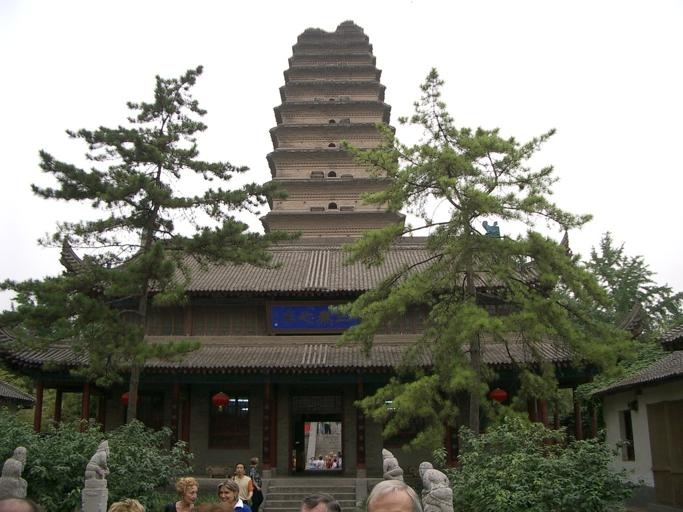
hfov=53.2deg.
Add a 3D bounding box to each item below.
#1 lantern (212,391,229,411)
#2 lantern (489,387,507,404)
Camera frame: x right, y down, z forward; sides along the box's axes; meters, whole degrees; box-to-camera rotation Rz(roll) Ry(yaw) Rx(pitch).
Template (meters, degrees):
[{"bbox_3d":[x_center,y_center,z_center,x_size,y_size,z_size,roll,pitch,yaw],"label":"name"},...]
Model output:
[{"bbox_3d":[-3.787,4.590,21.527,0.507,0.582,0.527,-8,-21,15],"label":"lantern"},{"bbox_3d":[4.596,4.067,20.060,0.431,0.421,0.591,-2,-22,5],"label":"lantern"}]
